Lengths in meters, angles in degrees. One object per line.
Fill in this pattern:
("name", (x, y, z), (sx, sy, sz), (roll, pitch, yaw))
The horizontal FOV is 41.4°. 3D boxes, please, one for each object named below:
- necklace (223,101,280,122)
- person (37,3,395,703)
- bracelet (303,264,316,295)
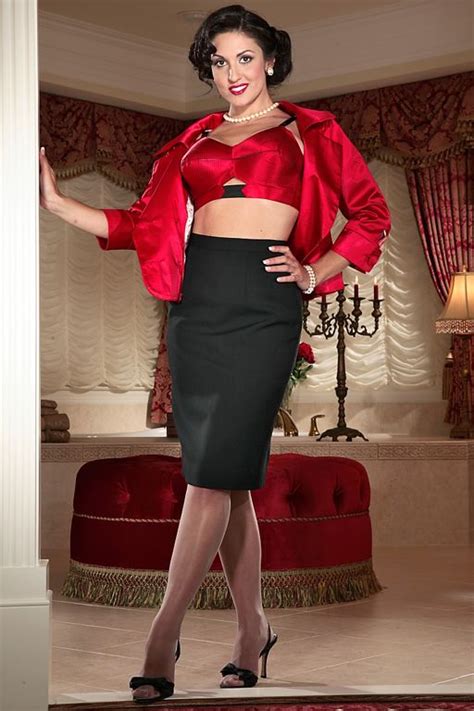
("necklace", (0.039, -0.519, 1.369), (0.085, 0.012, 0.064), (-18, 8, 17))
("person", (0.063, -0.042, 1.291), (0.552, 1.365, 0.264), (4, -13, -14))
("bracelet", (0.158, -0.158, 1.341), (0.018, 0.051, 0.043), (-5, -26, 8))
